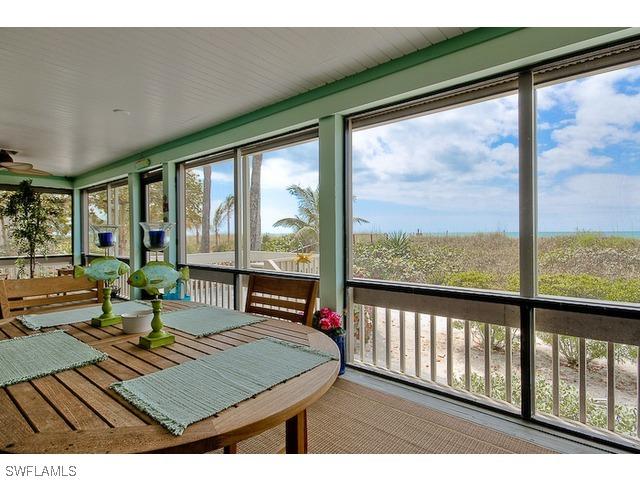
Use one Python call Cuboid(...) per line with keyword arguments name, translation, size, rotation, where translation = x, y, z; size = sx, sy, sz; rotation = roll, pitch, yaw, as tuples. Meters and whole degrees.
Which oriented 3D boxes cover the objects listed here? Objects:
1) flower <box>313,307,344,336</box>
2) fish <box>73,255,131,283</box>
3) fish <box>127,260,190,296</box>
Cuboid(name="flower", translation=(0.076, 0.716, 3.670), size=(0.270, 0.161, 0.264), rotation=(6, -3, 42))
Cuboid(name="fish", translation=(-1.397, 0.203, 2.632), size=(0.303, 0.204, 0.276), rotation=(-7, 14, -21))
Cuboid(name="fish", translation=(-0.897, 0.229, 2.338), size=(0.297, 0.228, 0.297), rotation=(-1, 13, 2))
